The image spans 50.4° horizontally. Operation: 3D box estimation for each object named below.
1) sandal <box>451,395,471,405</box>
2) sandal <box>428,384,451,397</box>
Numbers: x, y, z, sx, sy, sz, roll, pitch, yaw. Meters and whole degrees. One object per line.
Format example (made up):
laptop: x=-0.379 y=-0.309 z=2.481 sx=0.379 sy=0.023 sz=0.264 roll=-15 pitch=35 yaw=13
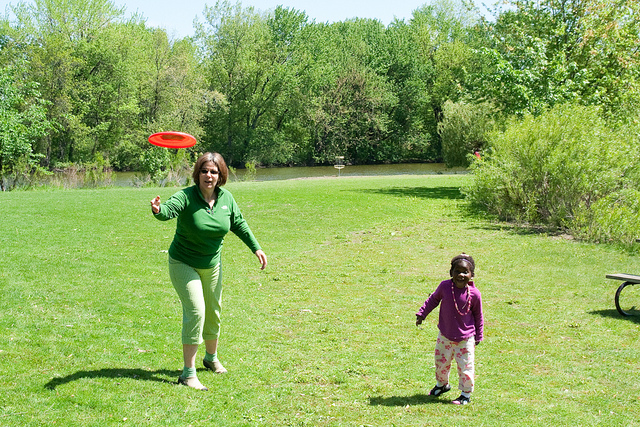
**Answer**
sandal: x=2.784 y=3.672 z=13.356 sx=0.363 sy=0.154 sz=0.148 roll=2 pitch=-1 yaw=-2
sandal: x=2.396 y=3.545 z=13.586 sx=0.412 sy=0.181 sz=0.154 roll=-20 pitch=7 yaw=-7
